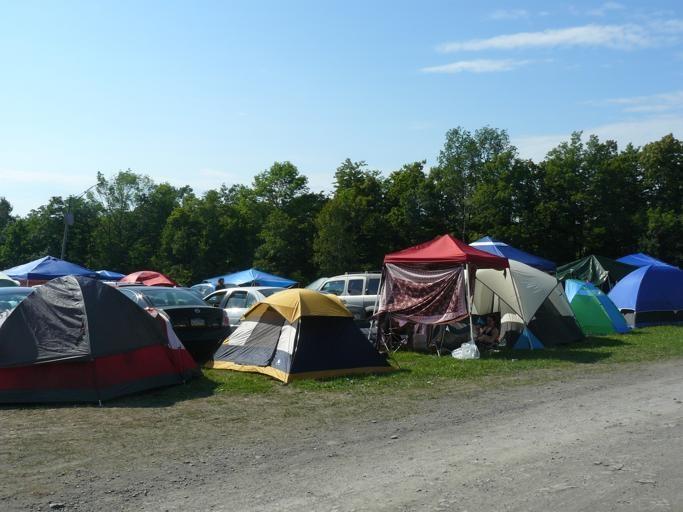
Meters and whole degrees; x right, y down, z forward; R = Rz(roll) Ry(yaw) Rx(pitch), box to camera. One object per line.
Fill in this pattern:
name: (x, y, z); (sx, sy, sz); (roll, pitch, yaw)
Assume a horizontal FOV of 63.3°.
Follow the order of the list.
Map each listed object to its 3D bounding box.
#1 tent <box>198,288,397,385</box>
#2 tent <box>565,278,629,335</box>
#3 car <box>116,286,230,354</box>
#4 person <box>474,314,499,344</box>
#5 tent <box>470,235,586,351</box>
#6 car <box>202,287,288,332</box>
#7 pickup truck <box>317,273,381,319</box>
tent: (-1.126, 1.655, 11.689); (2.496, 1.039, 2.440); (1, 1, -33)
tent: (8.393, 1.667, 18.449); (2.257, 0.809, 2.087); (-1, 2, 19)
car: (-3.348, 1.361, 12.098); (1.270, 0.785, 2.708); (0, 3, -41)
person: (3.869, 1.978, 14.962); (0.680, 0.668, 0.673); (0, 1, -7)
tent: (5.143, 1.277, 15.460); (2.697, 2.306, 2.147); (1, 2, 20)
car: (-3.149, 1.394, 15.712); (2.496, 0.720, 1.165); (2, 2, 41)
pickup truck: (0.351, 1.139, 17.134); (2.081, 0.988, 1.108); (1, -4, 12)
